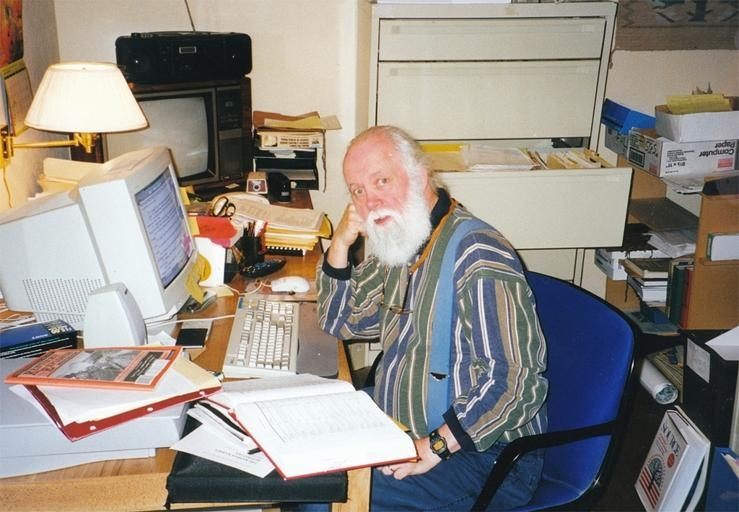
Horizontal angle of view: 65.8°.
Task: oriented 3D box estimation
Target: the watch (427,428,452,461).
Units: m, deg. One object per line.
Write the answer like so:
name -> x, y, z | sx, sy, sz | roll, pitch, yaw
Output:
watch -> 0.205, 0.556, 1.693 | 0.057, 0.077, 0.082 | -27, 62, -1

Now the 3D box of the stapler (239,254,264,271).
stapler -> -0.494, 0.022, 2.379 | 0.119, 0.050, 0.040 | -9, 26, -39

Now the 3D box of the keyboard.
keyboard -> -0.360, 0.269, 1.960 | 0.233, 0.049, 0.433 | 9, 24, -11

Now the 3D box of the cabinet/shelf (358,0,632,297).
cabinet/shelf -> 0.565, -0.714, 3.259 | 1.146, 1.920, 1.278 | -3, 13, -7

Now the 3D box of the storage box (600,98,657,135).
storage box -> 1.365, -0.755, 3.070 | 0.230, 0.135, 0.232 | -3, 28, -24

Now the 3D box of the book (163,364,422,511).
book -> -0.193, 0.478, 1.490 | 0.383, 0.091, 0.388 | -5, 33, -12

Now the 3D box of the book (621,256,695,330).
book -> 1.524, 0.196, 2.991 | 0.283, 0.129, 0.378 | -1, 24, 4

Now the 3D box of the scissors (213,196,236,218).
scissors -> -0.661, -0.226, 2.569 | 0.022, 0.094, 0.095 | 3, 52, -57

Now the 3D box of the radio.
radio -> -0.904, -0.971, 2.827 | 0.634, 0.234, 0.131 | -6, 18, -16

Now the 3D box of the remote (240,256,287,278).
remote -> -0.444, 0.029, 2.348 | 0.158, 0.048, 0.073 | -14, 25, -32

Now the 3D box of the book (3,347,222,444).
book -> -0.673, 0.378, 1.560 | 0.299, 0.050, 0.297 | -12, 31, -29

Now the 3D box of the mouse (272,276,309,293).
mouse -> -0.308, 0.106, 2.237 | 0.110, 0.034, 0.068 | 2, 25, -7
